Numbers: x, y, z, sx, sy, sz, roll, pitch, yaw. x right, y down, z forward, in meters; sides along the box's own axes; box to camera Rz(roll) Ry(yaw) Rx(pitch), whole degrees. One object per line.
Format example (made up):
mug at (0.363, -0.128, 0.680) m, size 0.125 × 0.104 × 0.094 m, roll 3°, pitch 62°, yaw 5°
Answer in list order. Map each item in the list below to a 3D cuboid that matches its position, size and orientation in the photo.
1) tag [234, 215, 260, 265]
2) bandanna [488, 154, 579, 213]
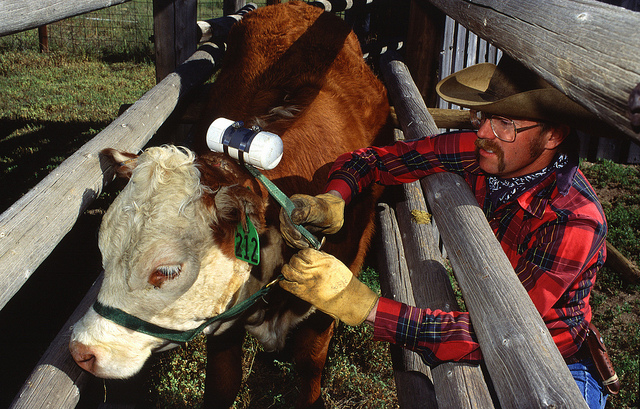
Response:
tag at (-0.513, 0.244, 3.089) m, size 0.007 × 0.363 × 0.228 m, roll -16°, pitch 30°, yaw -41°
bandanna at (1.665, -0.276, 3.709) m, size 0.580 × 0.472 × 0.867 m, roll -12°, pitch 25°, yaw 21°
